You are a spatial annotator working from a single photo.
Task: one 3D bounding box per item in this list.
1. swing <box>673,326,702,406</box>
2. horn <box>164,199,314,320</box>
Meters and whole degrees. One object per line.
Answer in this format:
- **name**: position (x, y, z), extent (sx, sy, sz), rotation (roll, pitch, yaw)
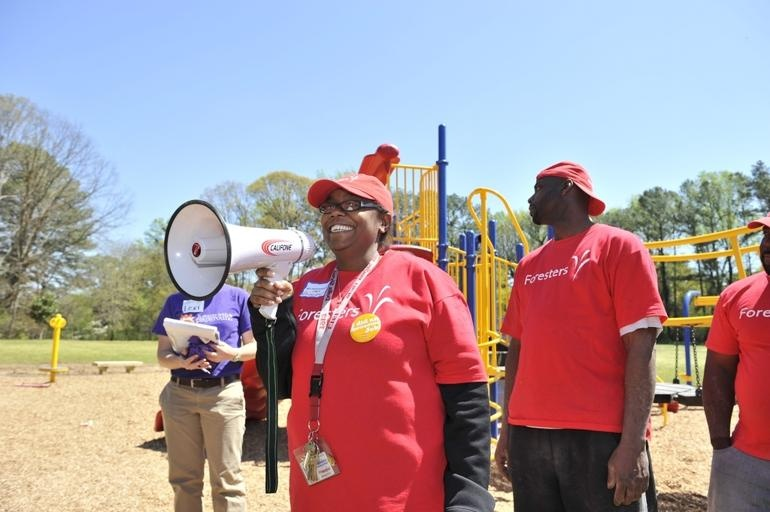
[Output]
- **swing**: position (6.176, 2.135, 12.496), extent (0.377, 1.486, 11.072), rotation (-2, -6, 26)
- **horn**: position (-1.108, 0.003, 5.207), extent (0.703, 0.985, 1.307), rotation (20, 14, 29)
